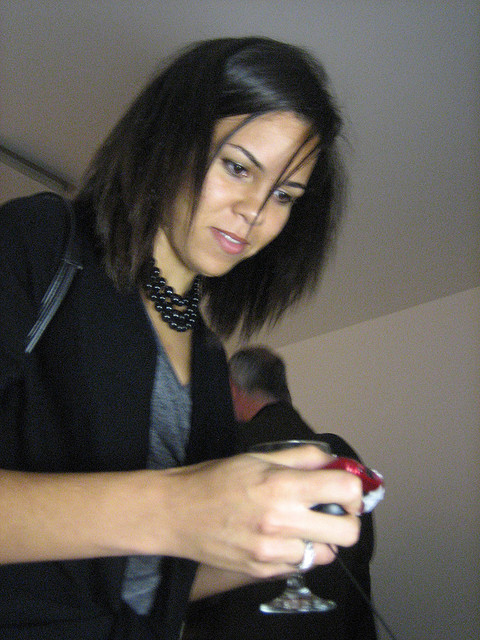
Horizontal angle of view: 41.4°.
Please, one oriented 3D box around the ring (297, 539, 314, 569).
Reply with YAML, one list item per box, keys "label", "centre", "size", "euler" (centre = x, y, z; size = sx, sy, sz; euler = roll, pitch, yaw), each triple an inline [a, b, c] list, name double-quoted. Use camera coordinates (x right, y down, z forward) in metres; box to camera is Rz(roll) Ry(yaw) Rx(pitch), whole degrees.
- label: "ring"
  centre: [0.061, 0.211, 0.570]
  size: [0.011, 0.027, 0.026]
  euler: [11, 53, 5]
